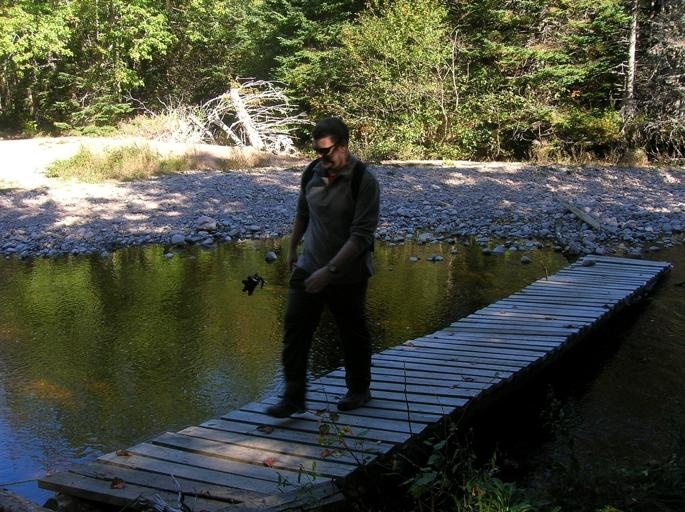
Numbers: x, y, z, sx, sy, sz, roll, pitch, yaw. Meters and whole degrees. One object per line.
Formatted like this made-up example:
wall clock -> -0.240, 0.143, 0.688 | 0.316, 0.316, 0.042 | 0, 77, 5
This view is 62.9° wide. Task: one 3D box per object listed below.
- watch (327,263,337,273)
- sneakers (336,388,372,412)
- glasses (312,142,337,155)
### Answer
watch -> -0.086, 0.095, 4.266 | 0.079, 0.057, 0.016 | 14, -7, 16
sneakers -> 0.094, 1.214, 4.699 | 0.335, 0.106, 0.116 | -3, 10, -37
glasses -> -0.145, -0.798, 4.246 | 0.175, 0.083, 0.063 | 1, 16, 18
